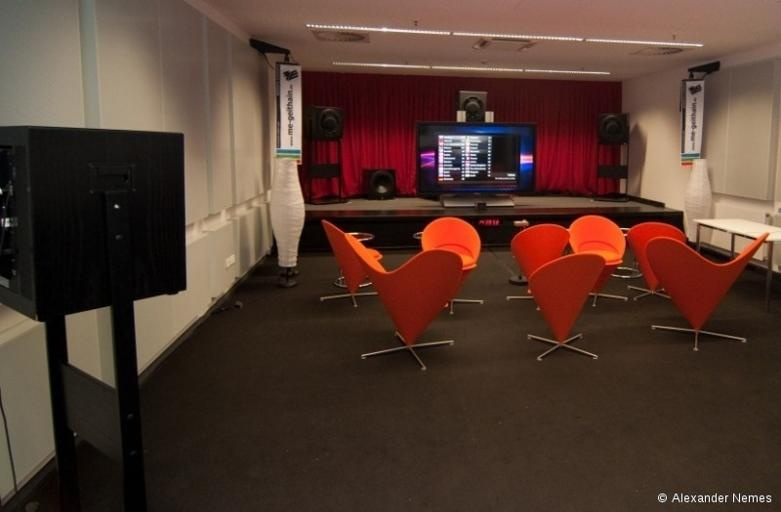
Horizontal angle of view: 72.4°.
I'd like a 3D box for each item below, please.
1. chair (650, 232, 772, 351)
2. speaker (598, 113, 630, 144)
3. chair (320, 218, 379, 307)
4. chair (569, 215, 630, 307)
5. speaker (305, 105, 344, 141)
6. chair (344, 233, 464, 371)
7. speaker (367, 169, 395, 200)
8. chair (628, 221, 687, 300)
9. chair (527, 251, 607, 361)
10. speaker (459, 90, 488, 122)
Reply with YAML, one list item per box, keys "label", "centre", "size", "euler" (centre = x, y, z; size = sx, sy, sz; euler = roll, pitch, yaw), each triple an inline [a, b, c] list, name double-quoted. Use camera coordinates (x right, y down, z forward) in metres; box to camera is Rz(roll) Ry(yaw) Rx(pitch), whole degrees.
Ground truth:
- label: "chair"
  centre: [2.646, 0.316, 4.828]
  size: [0.840, 1.052, 1.039]
  euler: [-17, 0, 1]
- label: "speaker"
  centre: [3.921, -2.230, 9.492]
  size: [0.483, 0.541, 0.533]
  euler: [1, 9, 11]
- label: "chair"
  centre: [-0.405, 0.047, 5.523]
  size: [0.577, 0.809, 0.637]
  euler: [-4, 0, -28]
- label: "chair"
  centre: [2.162, 0.057, 5.541]
  size: [0.525, 0.822, 0.587]
  euler: [-4, 14, -7]
- label: "speaker"
  centre: [-1.028, -1.938, 8.395]
  size: [0.664, 0.695, 0.482]
  euler: [-2, 7, -19]
- label: "chair"
  centre: [0.066, 0.312, 4.602]
  size: [0.860, 1.187, 1.187]
  euler: [-3, 11, -3]
- label: "speaker"
  centre: [-0.171, -1.264, 9.520]
  size: [0.479, 0.523, 0.514]
  euler: [0, 5, -5]
- label: "chair"
  centre: [2.858, 0.165, 5.722]
  size: [0.426, 0.578, 0.419]
  euler: [17, 6, -26]
- label: "chair"
  centre: [1.443, 0.368, 4.525]
  size: [0.609, 0.917, 0.563]
  euler: [0, 13, 1]
- label: "speaker"
  centre: [1.349, -2.440, 8.780]
  size: [0.522, 0.635, 0.335]
  euler: [0, 2, -1]
